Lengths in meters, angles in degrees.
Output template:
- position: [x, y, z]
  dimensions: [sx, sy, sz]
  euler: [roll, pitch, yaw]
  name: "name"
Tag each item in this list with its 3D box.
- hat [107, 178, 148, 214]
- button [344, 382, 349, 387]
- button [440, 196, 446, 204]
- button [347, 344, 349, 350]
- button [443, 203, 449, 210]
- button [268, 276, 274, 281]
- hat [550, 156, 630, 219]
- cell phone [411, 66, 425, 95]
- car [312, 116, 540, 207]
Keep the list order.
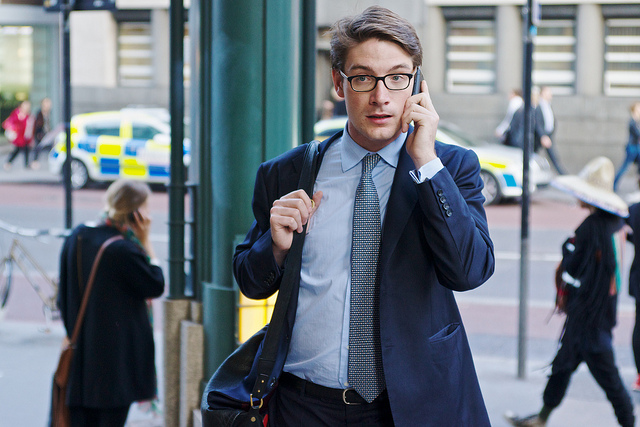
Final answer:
- position: [-1.849, -0.172, 12.000]
  dimensions: [0.353, 0.286, 0.340]
  euler: [11, 0, 14]
  name: "hat"
- position: [0.218, 1.373, 10.034]
  dimensions: [0.028, 0.030, 0.007]
  euler: [3, -17, -1]
  name: "button"
- position: [0.976, -0.113, 9.894]
  dimensions: [0.050, 0.054, 0.015]
  euler: [-7, 1, -11]
  name: "button"
- position: [0.226, 1.074, 10.043]
  dimensions: [0.005, 0.036, 0.019]
  euler: [-2, 4, -43]
  name: "button"
- position: [1.003, -0.064, 9.893]
  dimensions: [0.045, 0.050, 0.008]
  euler: [0, 3, 6]
  name: "button"
- position: [-0.403, 0.525, 10.186]
  dimensions: [0.037, 0.009, 0.026]
  euler: [43, -17, -9]
  name: "button"
- position: [2.760, -0.308, 12.352]
  dimensions: [0.851, 0.463, 0.923]
  euler: [21, 5, 3]
  name: "hat"
- position: [0.801, -1.077, 10.146]
  dimensions: [0.062, 0.285, 0.071]
  euler: [8, -3, -19]
  name: "cell phone"
- position: [1.814, -0.812, 20.524]
  dimensions: [3.551, 1.266, 1.645]
  euler: [1, 9, 8]
  name: "car"
